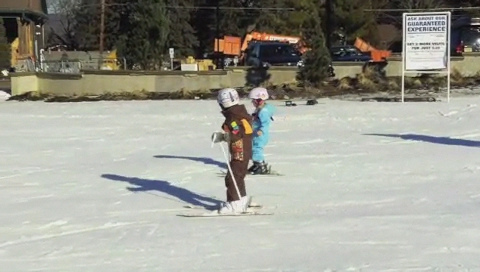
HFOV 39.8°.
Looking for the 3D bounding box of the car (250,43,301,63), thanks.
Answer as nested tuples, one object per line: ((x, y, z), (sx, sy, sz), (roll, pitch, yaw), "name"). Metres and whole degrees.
((2.176, -5.494, 44.076), (3.098, 1.268, 0.828), (3, 11, 18), "car")

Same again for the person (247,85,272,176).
((0.432, -0.133, 20.267), (1.026, 2.630, 0.979), (-2, 9, -22), "person")
